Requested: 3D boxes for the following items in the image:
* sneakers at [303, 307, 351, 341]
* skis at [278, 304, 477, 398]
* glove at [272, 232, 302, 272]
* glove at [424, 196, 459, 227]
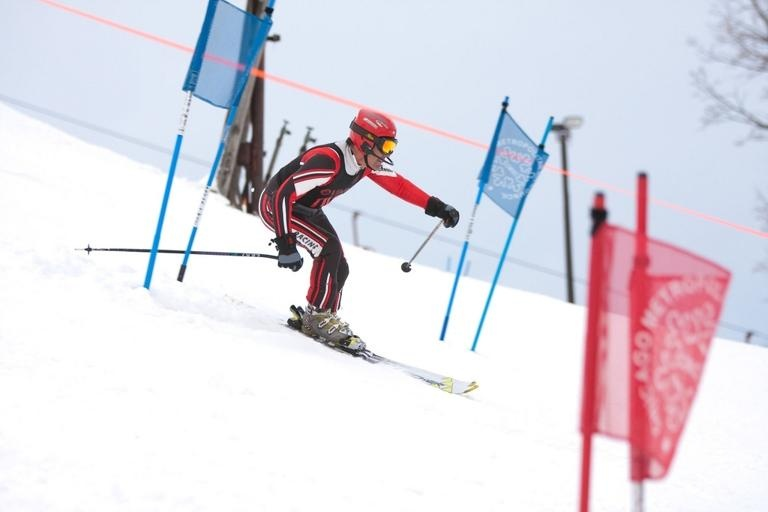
[{"bbox_3d":[-0.565,0.616,6.833,0.431,0.198,0.230,16,35,3],"label":"sneakers"},{"bbox_3d":[-0.152,0.858,6.929,1.646,0.183,0.244,20,19,25],"label":"skis"},{"bbox_3d":[-0.839,-0.020,6.567,0.228,0.240,0.300,-14,-7,-42],"label":"glove"},{"bbox_3d":[0.414,-0.357,6.526,0.313,0.142,0.261,39,10,-23],"label":"glove"}]
